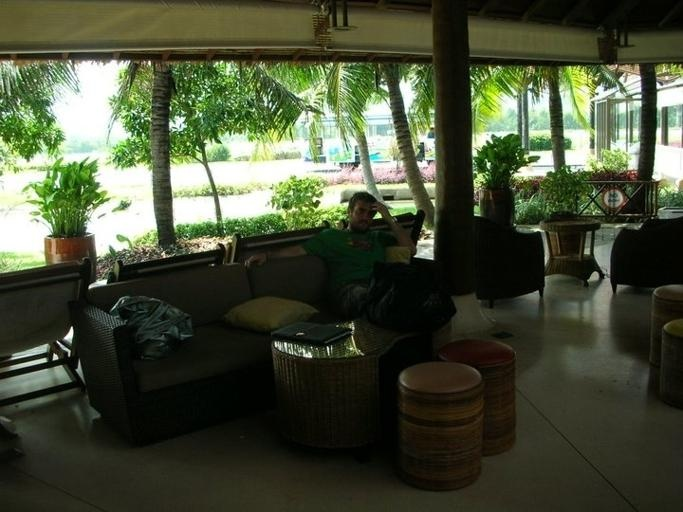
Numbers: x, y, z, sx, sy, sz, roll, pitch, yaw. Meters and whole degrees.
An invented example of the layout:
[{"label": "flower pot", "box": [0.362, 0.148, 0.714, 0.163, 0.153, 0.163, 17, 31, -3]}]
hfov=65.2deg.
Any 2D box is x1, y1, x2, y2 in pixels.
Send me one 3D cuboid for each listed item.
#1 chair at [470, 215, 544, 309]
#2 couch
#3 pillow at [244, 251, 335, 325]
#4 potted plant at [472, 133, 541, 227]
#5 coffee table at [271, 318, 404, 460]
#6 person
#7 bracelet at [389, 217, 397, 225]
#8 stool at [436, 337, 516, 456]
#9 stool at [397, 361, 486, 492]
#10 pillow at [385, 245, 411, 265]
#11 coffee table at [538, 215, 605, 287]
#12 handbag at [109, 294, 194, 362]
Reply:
[{"label": "chair", "box": [1.813, -0.033, 6.240, 0.982, 1.003, 0.892, -13, 14, -37]}, {"label": "couch", "box": [-0.703, 0.600, 4.314, 2.346, 0.959, 0.896, -8, 12, -36]}, {"label": "pillow", "box": [-0.461, 0.196, 4.638, 0.830, 0.573, 0.495, -1, -6, -34]}, {"label": "potted plant", "box": [1.962, -0.929, 6.503, 0.602, 1.079, 0.531, -3, 14, -2]}, {"label": "coffee table", "box": [-0.040, 0.910, 3.726, 0.833, 0.542, 0.836, -4, -1, 38]}, {"label": "person", "box": [0.096, -0.045, 4.985, 1.030, 0.614, 1.343, 3, 7, -14]}, {"label": "bracelet", "box": [0.494, -0.341, 5.129, 0.075, 0.072, 0.045, 16, 27, 36]}, {"label": "stool", "box": [0.916, 0.911, 3.680, 0.626, 0.690, 0.625, -2, 7, -1]}, {"label": "stool", "box": [0.599, 1.029, 3.311, 0.589, 0.609, 0.585, -2, 4, -27]}, {"label": "pillow", "box": [0.529, -0.009, 4.877, 0.165, 0.118, 0.166, 0, 2, -11]}, {"label": "coffee table", "box": [2.967, -0.072, 6.997, 0.770, 0.792, 0.806, 3, 13, 33]}, {"label": "handbag", "box": [-1.347, 0.491, 3.739, 0.538, 0.339, 0.402, -5, 14, -9]}]
